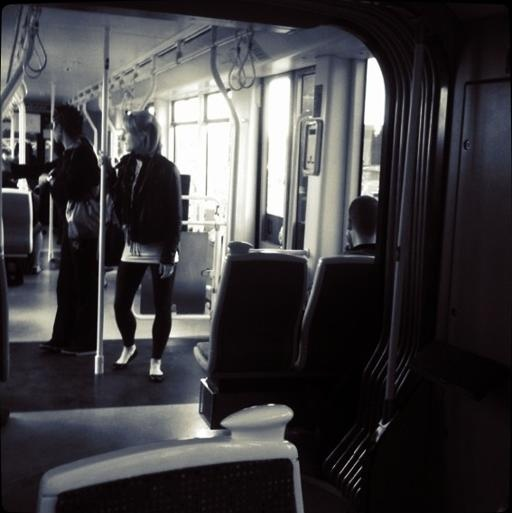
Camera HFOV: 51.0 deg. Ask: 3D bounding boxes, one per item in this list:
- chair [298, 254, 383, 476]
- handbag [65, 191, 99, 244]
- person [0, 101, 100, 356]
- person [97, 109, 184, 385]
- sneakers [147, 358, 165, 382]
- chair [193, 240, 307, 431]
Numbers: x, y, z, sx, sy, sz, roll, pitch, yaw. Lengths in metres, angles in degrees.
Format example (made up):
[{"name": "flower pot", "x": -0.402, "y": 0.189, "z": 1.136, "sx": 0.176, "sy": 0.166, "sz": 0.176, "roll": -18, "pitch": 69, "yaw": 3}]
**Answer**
[{"name": "chair", "x": 0.404, "y": 0.567, "z": 2.749, "sx": 0.378, "sy": 1.182, "sz": 0.193, "roll": 1, "pitch": 6, "yaw": -19}, {"name": "handbag", "x": -1.245, "y": -0.300, "z": 3.836, "sx": 0.224, "sy": 0.406, "sz": 0.204, "roll": 0, "pitch": 34, "yaw": -6}, {"name": "person", "x": -1.378, "y": -0.149, "z": 3.981, "sx": 0.614, "sy": 1.890, "sz": 0.469, "roll": 7, "pitch": 7, "yaw": 29}, {"name": "person", "x": -0.734, "y": -0.108, "z": 3.672, "sx": 0.486, "sy": 1.723, "sz": 0.355, "roll": 4, "pitch": 6, "yaw": 8}, {"name": "sneakers", "x": -0.728, "y": 0.829, "z": 3.983, "sx": 0.161, "sy": 0.210, "sz": 0.091, "roll": 4, "pitch": 2, "yaw": 2}, {"name": "chair", "x": -0.017, "y": 0.419, "z": 2.661, "sx": 0.520, "sy": 0.927, "sz": 0.327, "roll": 3, "pitch": 6, "yaw": -7}]
